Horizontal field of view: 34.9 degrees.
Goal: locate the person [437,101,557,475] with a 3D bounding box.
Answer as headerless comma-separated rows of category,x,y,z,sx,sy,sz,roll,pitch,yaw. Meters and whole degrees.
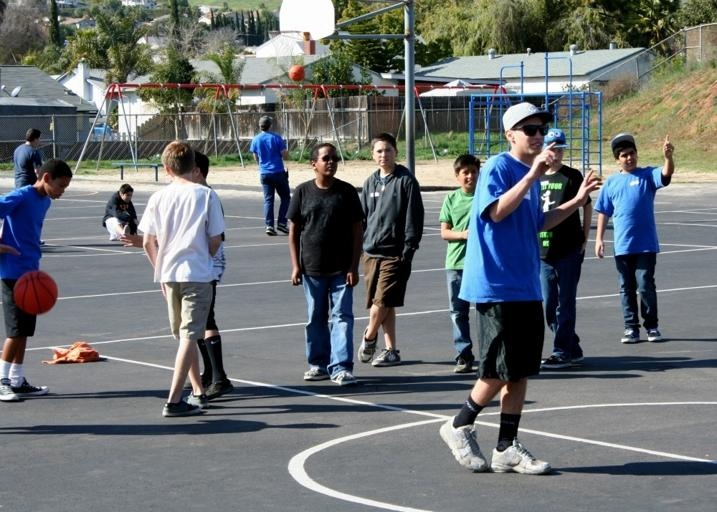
person,1.090,0.258,8.852,0.963,2.861,0.679,-3,7,-5

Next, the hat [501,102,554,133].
hat,1.282,-1.070,8.922,0.321,0.163,0.235,-6,1,41

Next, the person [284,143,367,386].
person,-0.332,0.076,11.361,0.751,2.365,0.756,-2,7,5

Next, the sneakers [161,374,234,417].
sneakers,-1.517,1.291,10.425,0.215,0.241,0.652,2,12,39

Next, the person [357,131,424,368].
person,0.310,-0.061,11.947,0.713,2.433,0.807,-3,7,-4

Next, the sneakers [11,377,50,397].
sneakers,-3.135,1.269,10.806,0.387,0.164,0.125,-1,1,-19

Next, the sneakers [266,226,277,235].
sneakers,-1.752,-0.473,22.797,0.114,0.133,0.323,1,-5,-14

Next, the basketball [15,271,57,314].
basketball,-2.975,0.313,10.687,0.410,0.389,0.394,-1,12,-8

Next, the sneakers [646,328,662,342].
sneakers,3.336,0.893,12.801,0.153,0.139,0.232,-1,7,14

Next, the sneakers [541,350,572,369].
sneakers,2.047,1.083,11.693,0.368,0.136,0.162,0,2,-2

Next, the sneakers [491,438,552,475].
sneakers,1.240,1.600,8.934,0.543,0.247,0.190,0,0,18

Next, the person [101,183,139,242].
person,-4.557,-0.792,21.632,0.625,1.101,1.908,-4,7,-12

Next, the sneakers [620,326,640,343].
sneakers,3.058,0.904,12.773,0.208,0.148,0.303,-1,7,12

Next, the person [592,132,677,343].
person,3.152,-0.219,12.995,0.831,2.322,0.905,-5,7,-24

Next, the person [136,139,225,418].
person,-1.565,0.202,10.284,0.712,2.454,0.577,-5,7,-22

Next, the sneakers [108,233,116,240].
sneakers,-4.685,-0.341,21.635,0.167,0.082,0.240,-1,0,-8
